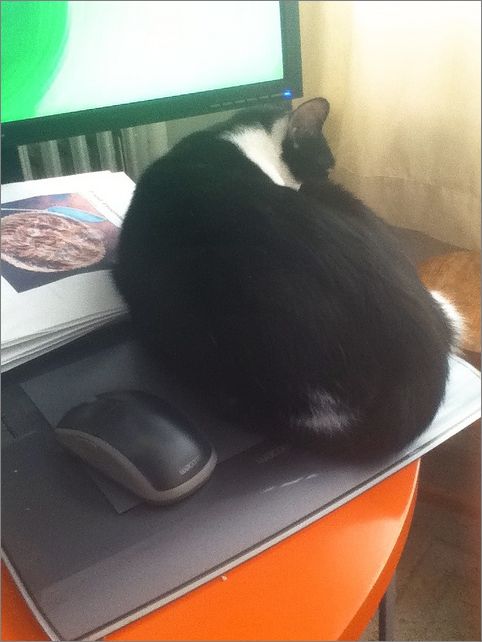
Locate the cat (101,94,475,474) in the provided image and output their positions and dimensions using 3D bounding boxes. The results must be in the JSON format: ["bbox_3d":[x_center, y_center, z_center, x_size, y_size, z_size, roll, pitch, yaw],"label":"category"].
[{"bbox_3d":[0.030,-0.023,0.330,0.164,0.193,0.173,-25,37,-33],"label":"cat"}]

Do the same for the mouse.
[{"bbox_3d":[-0.059,0.066,0.305,0.087,0.030,0.051,31,42,26],"label":"mouse"}]
